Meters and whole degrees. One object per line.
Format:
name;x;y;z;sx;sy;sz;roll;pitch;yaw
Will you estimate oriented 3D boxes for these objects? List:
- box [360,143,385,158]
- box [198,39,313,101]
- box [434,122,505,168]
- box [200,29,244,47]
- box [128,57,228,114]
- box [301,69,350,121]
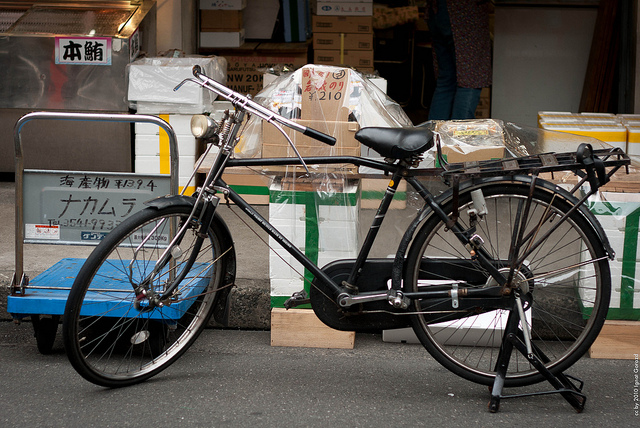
box;0.466;-0.574;5.434;0.173;0.116;0.416;1;6;4
box;-0.965;-2.331;9.062;1.348;0.954;1.862;11;22;32
box;1.315;-0.639;5.298;0.612;0.207;0.572;1;48;6
box;-1.493;-2.657;8.940;0.601;0.280;0.109;1;6;0
box;-1.649;-1.480;6.777;0.888;0.690;0.621;2;7;10
box;0.052;-0.924;4.800;0.326;0.301;0.447;9;-11;6
